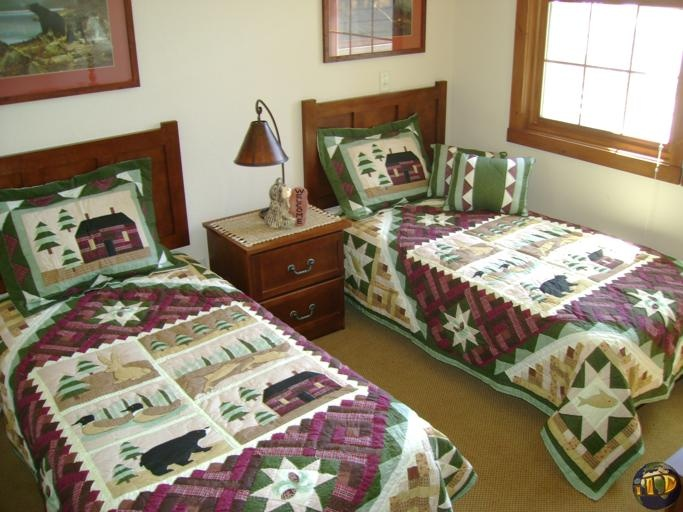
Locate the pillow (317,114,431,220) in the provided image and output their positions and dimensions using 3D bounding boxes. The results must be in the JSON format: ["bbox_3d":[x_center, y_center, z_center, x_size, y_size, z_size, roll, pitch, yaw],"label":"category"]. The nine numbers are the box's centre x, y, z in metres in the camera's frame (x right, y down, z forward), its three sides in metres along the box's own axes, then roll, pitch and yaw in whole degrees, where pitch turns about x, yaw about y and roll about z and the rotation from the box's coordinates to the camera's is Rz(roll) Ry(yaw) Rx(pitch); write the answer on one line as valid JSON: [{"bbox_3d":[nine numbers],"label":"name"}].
[{"bbox_3d":[0.169,-0.593,3.614,0.854,0.629,0.202,-18,-5,-29],"label":"pillow"}]

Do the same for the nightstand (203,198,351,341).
[{"bbox_3d":[-0.339,0.033,3.405,0.868,0.836,0.731,-21,35,-35],"label":"nightstand"}]

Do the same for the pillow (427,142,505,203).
[{"bbox_3d":[0.818,-0.538,3.543,0.484,0.464,0.144,5,5,12],"label":"pillow"}]
